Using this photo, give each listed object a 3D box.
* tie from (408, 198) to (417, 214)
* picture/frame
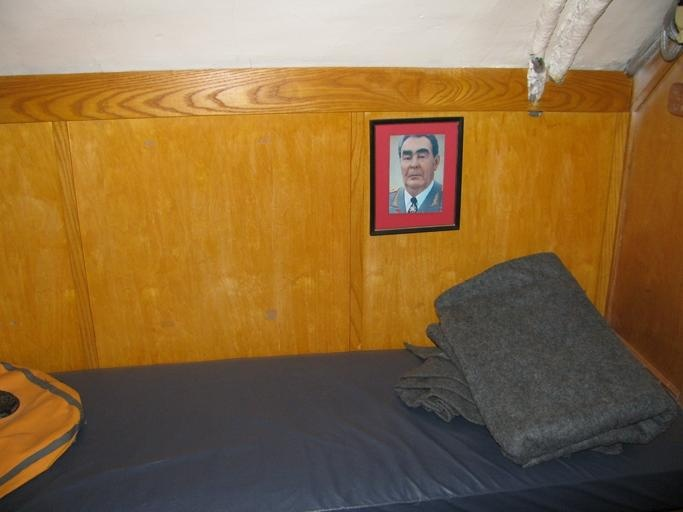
[{"bbox_3d":[0.263,-0.183,2.008,0.040,0.049,0.012,0,11,-4],"label":"tie"},{"bbox_3d":[0.260,-0.304,1.981,0.442,0.488,0.022,-5,20,-10],"label":"picture/frame"}]
